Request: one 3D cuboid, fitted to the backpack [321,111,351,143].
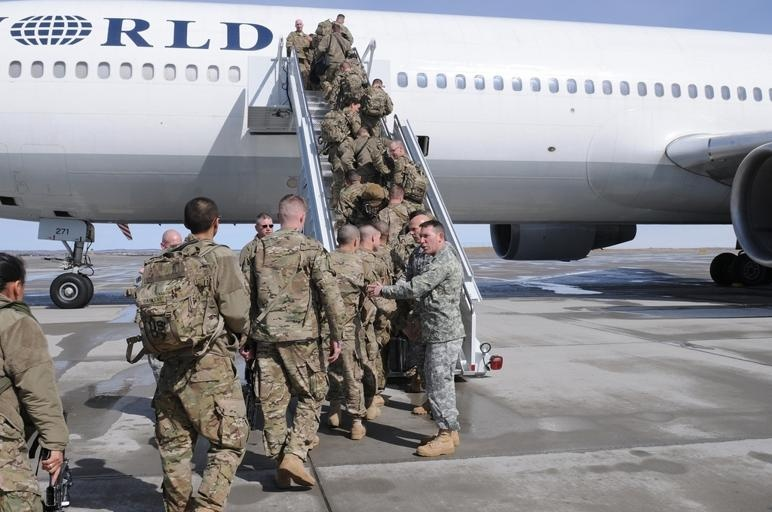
[{"bbox_3d":[-0.786,-2.022,10.697,0.455,0.504,0.536,-1,-34,3],"label":"backpack"}]

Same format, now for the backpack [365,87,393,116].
[{"bbox_3d":[-0.129,-2.592,10.916,0.467,0.495,0.510,5,-19,-14],"label":"backpack"}]

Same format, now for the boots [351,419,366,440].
[{"bbox_3d":[-0.307,1.932,7.329,0.106,0.166,0.281,1,5,9],"label":"boots"}]

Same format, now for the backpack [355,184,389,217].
[{"bbox_3d":[-0.185,-0.825,9.541,0.394,0.278,0.516,2,1,-2],"label":"backpack"}]

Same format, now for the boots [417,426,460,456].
[{"bbox_3d":[0.562,1.978,7.028,0.549,0.219,0.187,0,2,-14],"label":"boots"}]

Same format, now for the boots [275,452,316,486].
[{"bbox_3d":[-0.850,2.050,6.371,0.380,0.374,0.315,-1,7,-19],"label":"boots"}]

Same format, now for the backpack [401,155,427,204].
[{"bbox_3d":[0.438,-1.108,9.894,0.348,0.653,0.360,2,6,0],"label":"backpack"}]

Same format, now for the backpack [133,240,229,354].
[{"bbox_3d":[-1.769,0.388,5.668,0.690,0.979,0.353,0,7,-18],"label":"backpack"}]
